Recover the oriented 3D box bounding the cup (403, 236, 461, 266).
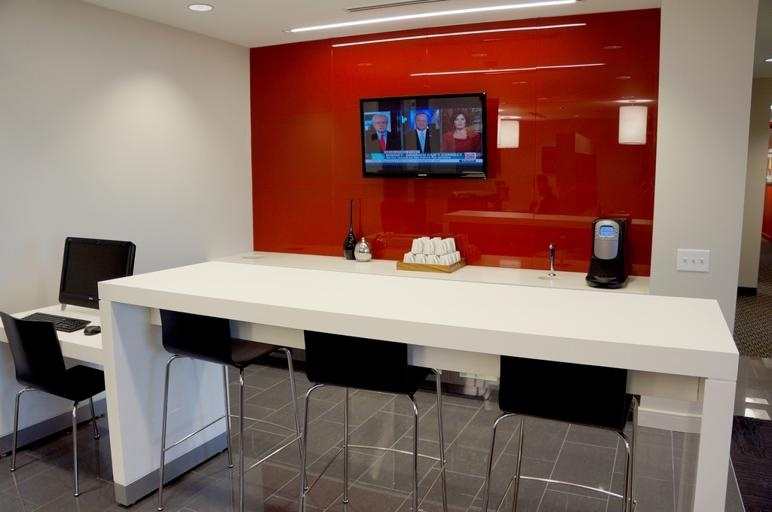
[{"bbox_3d":[0.413,-0.020,5.187,0.323,0.153,0.329,0,5,0],"label":"cup"}]

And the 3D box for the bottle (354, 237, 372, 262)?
[{"bbox_3d":[-0.236,-0.045,5.494,0.192,0.287,0.198,0,2,0],"label":"bottle"}]

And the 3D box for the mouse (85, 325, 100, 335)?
[{"bbox_3d":[-2.139,0.545,4.151,0.064,0.031,0.086,2,4,3],"label":"mouse"}]

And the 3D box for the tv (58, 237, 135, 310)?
[{"bbox_3d":[-2.299,0.126,4.456,0.061,0.479,0.626,6,-1,20],"label":"tv"}]
